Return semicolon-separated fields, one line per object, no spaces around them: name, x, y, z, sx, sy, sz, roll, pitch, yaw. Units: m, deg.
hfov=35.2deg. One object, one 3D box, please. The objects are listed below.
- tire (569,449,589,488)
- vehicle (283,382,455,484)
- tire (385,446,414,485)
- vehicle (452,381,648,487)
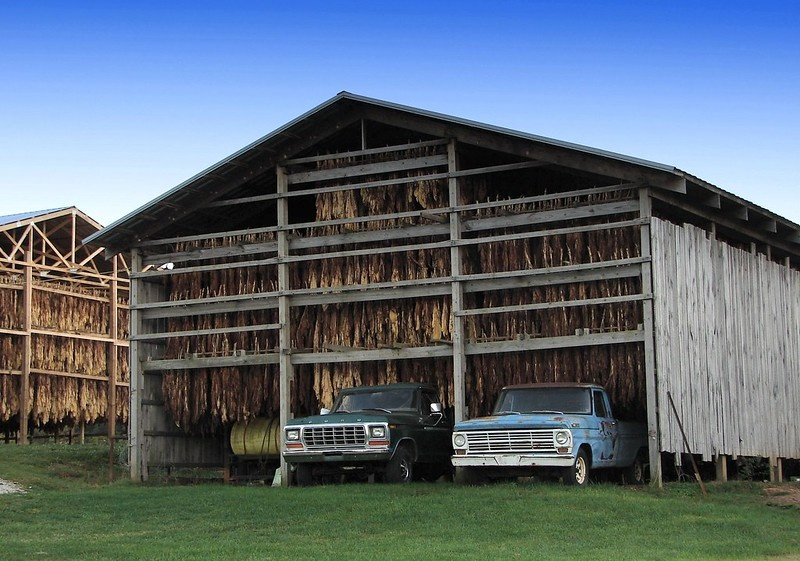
tire;3.786;4.090;27.248;0.298;0.872;0.856;-1;5;30
vehicle;-0.602;3.933;29.559;4.101;2.664;2.230;-5;8;-29
tire;-0.014;4.359;29.159;0.267;0.798;0.780;-8;-5;26
vehicle;3.321;3.621;28.226;2.609;2.524;4.219;5;9;40
